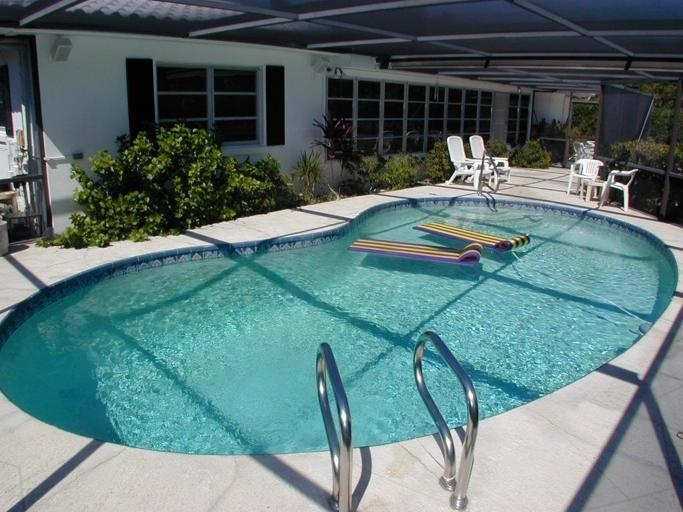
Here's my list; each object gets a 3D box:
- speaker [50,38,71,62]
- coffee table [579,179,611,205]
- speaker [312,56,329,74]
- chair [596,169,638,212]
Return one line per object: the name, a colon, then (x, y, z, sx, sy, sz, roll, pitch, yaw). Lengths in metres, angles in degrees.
speaker: (-4.770, -3.495, 7.726, 0.274, 0.482, 0.250, 8, 44, -39)
coffee table: (7.158, -1.812, 12.976, 0.759, 0.575, 0.758, -17, 24, -31)
speaker: (-0.572, -5.036, 11.937, 0.448, 0.355, 0.241, -3, 14, -9)
chair: (7.567, -1.776, 12.541, 0.900, 1.155, 0.824, -31, 37, -35)
